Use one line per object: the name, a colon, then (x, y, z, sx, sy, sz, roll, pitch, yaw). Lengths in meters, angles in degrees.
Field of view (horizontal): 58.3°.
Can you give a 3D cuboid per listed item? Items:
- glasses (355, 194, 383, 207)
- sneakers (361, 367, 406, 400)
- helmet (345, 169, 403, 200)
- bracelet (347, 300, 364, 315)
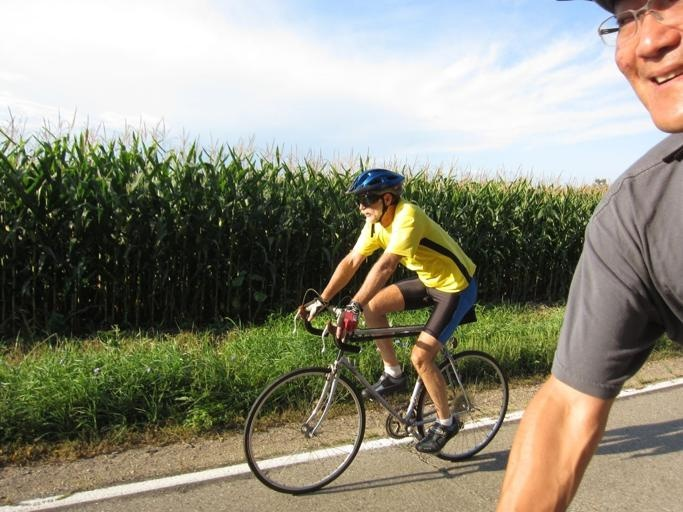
glasses: (0.226, -0.471, 5.227, 0.206, 0.129, 0.077, 8, 15, 28)
sneakers: (0.395, 1.107, 5.338, 0.457, 0.239, 0.163, -3, -1, -28)
helmet: (0.278, -0.641, 5.309, 0.610, 0.279, 0.458, -3, 7, -11)
bracelet: (0.098, 0.403, 4.882, 0.079, 0.113, 0.075, 18, 19, 40)
